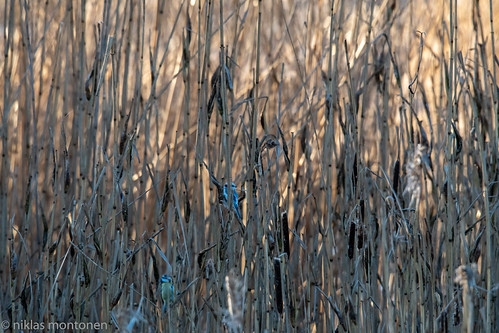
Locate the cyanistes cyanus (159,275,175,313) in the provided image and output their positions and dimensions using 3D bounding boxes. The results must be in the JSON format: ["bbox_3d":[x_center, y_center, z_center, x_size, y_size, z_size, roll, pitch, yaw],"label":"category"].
[{"bbox_3d":[-0.476,0.725,6.204,0.059,0.248,0.112,-4,48,-15],"label":"cyanistes cyanus"}]

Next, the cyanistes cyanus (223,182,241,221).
[{"bbox_3d":[-0.087,0.183,6.171,0.060,0.099,0.290,-12,89,-13],"label":"cyanistes cyanus"}]
